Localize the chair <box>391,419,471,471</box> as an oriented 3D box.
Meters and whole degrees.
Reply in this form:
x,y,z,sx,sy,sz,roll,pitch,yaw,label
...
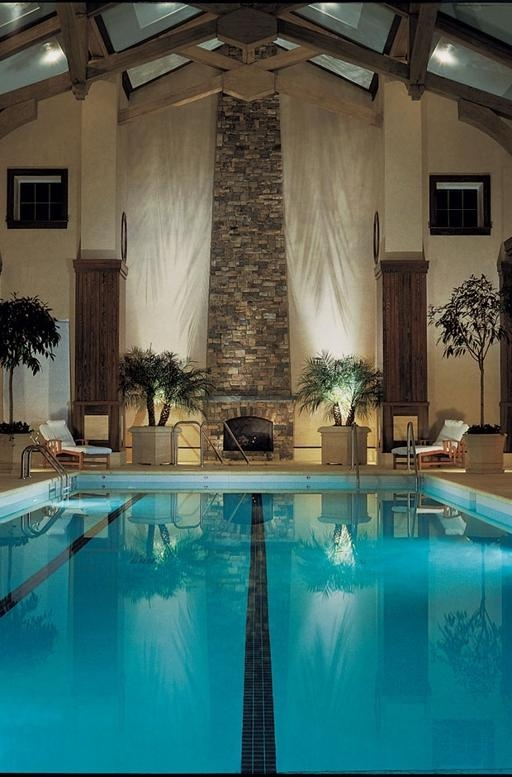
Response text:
x,y,z,sx,sy,sz,roll,pitch,yaw,label
3.121,1.108,10.638,1.195,1.319,0.928,1,-4,-19,chair

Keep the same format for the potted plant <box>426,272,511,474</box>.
x,y,z,sx,sy,sz,roll,pitch,yaw,label
3.818,-0.477,10.468,1.430,3.802,3.300,-1,-4,18,potted plant

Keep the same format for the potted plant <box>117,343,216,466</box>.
x,y,z,sx,sy,sz,roll,pitch,yaw,label
-1.778,0.293,12.460,1.832,3.193,1.819,2,-5,-32,potted plant

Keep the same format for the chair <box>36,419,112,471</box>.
x,y,z,sx,sy,sz,roll,pitch,yaw,label
-3.241,1.074,10.446,1.298,1.191,0.781,-1,-1,43,chair
